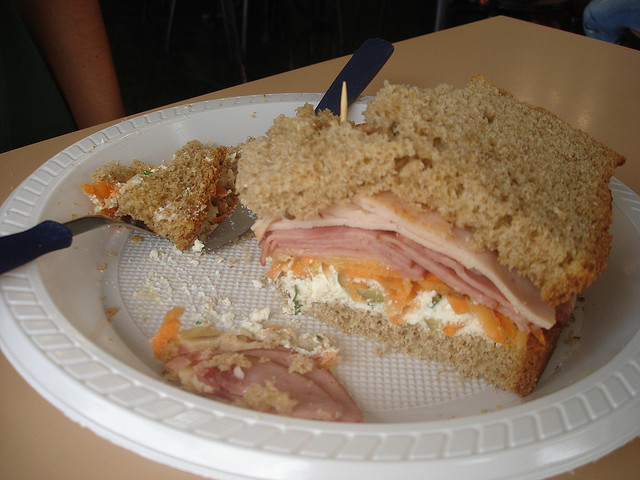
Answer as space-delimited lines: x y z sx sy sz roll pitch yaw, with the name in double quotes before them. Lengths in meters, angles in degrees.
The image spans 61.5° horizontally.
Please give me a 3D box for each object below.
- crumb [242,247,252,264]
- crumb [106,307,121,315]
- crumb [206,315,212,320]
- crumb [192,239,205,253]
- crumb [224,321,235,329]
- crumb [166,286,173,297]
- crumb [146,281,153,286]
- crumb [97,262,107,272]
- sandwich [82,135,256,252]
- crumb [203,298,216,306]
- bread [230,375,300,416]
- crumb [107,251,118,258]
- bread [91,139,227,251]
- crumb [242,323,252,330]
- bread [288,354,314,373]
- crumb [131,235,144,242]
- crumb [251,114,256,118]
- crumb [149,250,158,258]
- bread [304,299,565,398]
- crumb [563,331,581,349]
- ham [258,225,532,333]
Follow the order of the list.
"crumb" -0.255 0.056 1.870 0.037 0.011 0.039 8 48 11
"crumb" -0.640 0.220 1.661 0.033 0.014 0.024 -14 60 -11
"crumb" -0.350 0.245 1.684 0.009 0.003 0.009 3 44 -17
"crumb" -0.422 0.023 1.854 0.038 0.041 0.012 -14 19 -12
"crumb" -0.283 0.265 1.668 0.029 0.009 0.024 -6 59 -7
"crumb" -0.487 0.171 1.738 0.021 0.006 0.023 27 51 12
"crumb" -0.557 0.143 1.758 0.015 0.007 0.015 -10 59 -9
"crumb" -0.720 0.091 1.769 0.023 0.017 0.039 -8 59 -8
"sandwich" -0.538 -0.231 2.036 0.565 0.436 0.551 -9 20 -15
"crumb" -0.351 0.202 1.717 0.021 0.006 0.022 3 27 5
"bread" -0.142 0.419 1.469 0.179 0.046 0.112 12 59 4
"crumb" -0.704 0.051 1.812 0.020 0.006 0.021 1 36 -9
"bread" -0.575 -0.218 1.918 0.426 0.171 0.425 18 59 8
"crumb" -0.230 0.269 1.667 0.014 0.004 0.015 3 22 1
"bread" -0.054 0.360 1.559 0.047 0.017 0.049 -5 41 -14
"crumb" -0.646 -0.005 1.888 0.024 0.007 0.025 35 35 31
"crumb" -0.261 -0.479 2.089 0.022 0.013 0.005 13 8 -16
"crumb" -0.568 0.049 1.834 0.022 0.009 0.023 21 44 5
"bread" 0.411 0.240 1.768 0.692 0.250 0.638 12 15 39
"crumb" 0.744 0.295 1.586 0.033 0.016 0.037 -28 27 16
"ham" 0.190 -0.003 1.587 0.683 0.327 0.474 -7 20 -18
